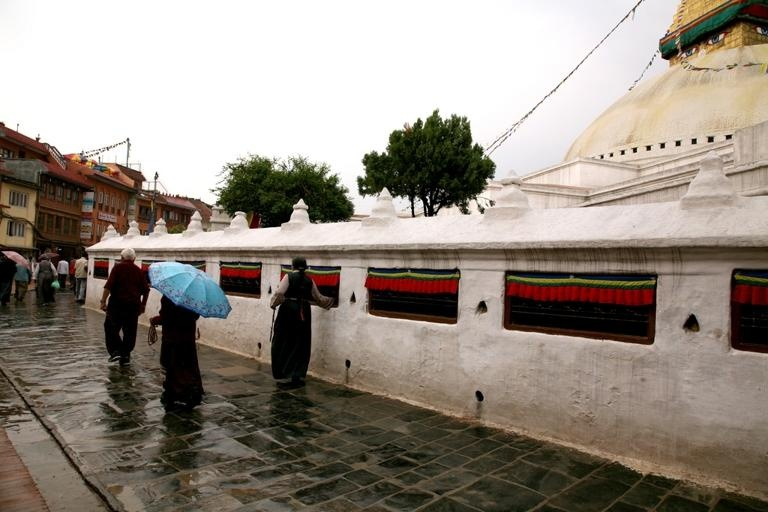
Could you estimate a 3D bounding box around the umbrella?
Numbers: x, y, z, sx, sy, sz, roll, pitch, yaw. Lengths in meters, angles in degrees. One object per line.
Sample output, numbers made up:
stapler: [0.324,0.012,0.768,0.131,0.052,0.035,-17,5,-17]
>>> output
umbrella: [-3.050,0.543,7.445,1.151,0.775,0.777,4,6,27]

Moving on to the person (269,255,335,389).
person: [-1.538,1.163,8.566,0.989,2.255,0.519,-4,8,-41]

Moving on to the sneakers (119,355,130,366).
sneakers: [-4.976,2.014,9.293,0.207,0.173,0.103,17,3,-22]

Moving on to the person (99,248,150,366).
person: [-4.968,0.984,9.336,0.808,2.257,0.832,-2,7,-28]
